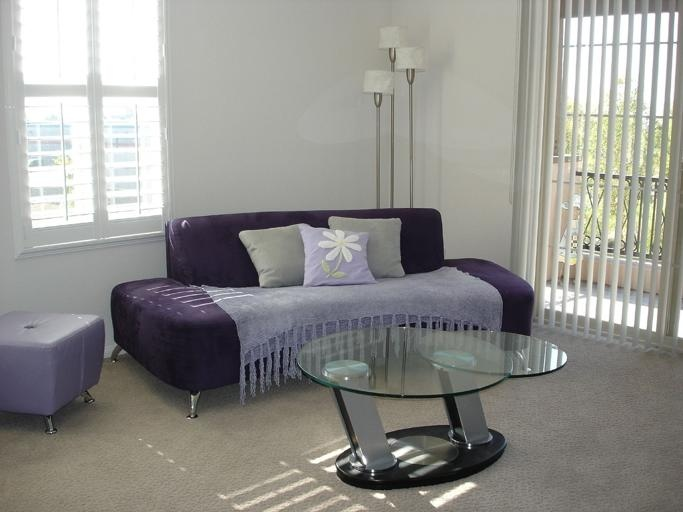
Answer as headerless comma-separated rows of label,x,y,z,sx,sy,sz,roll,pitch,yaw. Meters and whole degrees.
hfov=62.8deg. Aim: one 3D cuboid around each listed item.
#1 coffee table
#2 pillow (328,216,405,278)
coffee table,0.367,0.654,2.501,1.099,0.484,0.725,-5,14,-22
pillow,0.146,-0.047,3.613,0.374,0.345,0.134,4,-23,-24
